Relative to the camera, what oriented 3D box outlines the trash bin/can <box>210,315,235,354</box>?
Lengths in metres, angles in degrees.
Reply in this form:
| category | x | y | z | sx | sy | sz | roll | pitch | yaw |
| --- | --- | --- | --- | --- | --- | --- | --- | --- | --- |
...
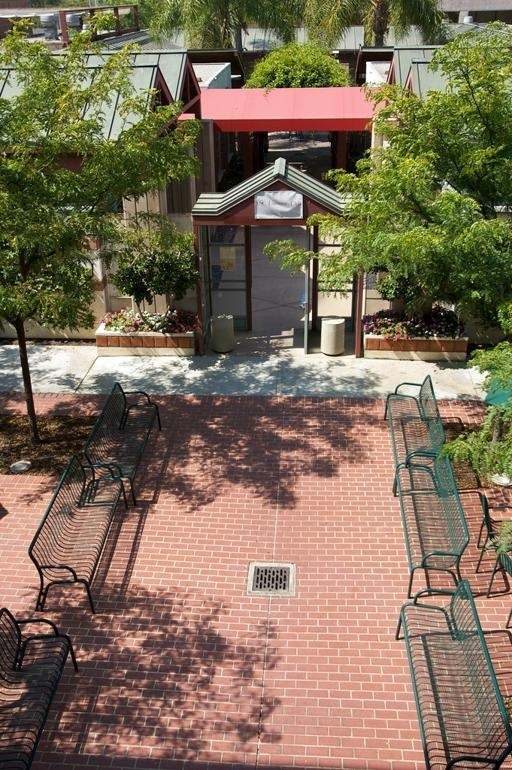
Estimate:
| category | x | y | z | sx | sy | sz | roll | pitch | yaw |
| --- | --- | --- | --- | --- | --- | --- | --- | --- | --- |
| trash bin/can | -0.723 | -1.056 | 11.204 | 0.546 | 0.889 | 0.579 | 3 | 36 | 6 |

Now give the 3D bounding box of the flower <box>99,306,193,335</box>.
| category | x | y | z | sx | sy | sz | roll | pitch | yaw |
| --- | --- | --- | --- | --- | --- | --- | --- | --- | --- |
| flower | -2.281 | -1.345 | 11.169 | 1.299 | 0.328 | 0.862 | -2 | 28 | 7 |

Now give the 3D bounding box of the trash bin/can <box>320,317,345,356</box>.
| category | x | y | z | sx | sy | sz | roll | pitch | yaw |
| --- | --- | --- | --- | --- | --- | --- | --- | --- | --- |
| trash bin/can | 1.577 | -0.973 | 10.764 | 0.591 | 0.780 | 0.706 | 1 | 32 | 4 |

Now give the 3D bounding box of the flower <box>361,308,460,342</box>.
| category | x | y | z | sx | sy | sz | roll | pitch | yaw |
| --- | --- | --- | --- | --- | --- | --- | --- | --- | --- |
| flower | 3.195 | -1.263 | 10.664 | 1.974 | 0.414 | 0.713 | 0 | 25 | 4 |

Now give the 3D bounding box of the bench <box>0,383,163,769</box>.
| category | x | y | z | sx | sy | sz | roll | pitch | yaw |
| --- | --- | --- | --- | --- | --- | --- | --- | --- | --- |
| bench | -1.851 | 1.994 | 5.604 | 0.404 | 0.479 | 2.836 | 5 | 30 | 1 |
